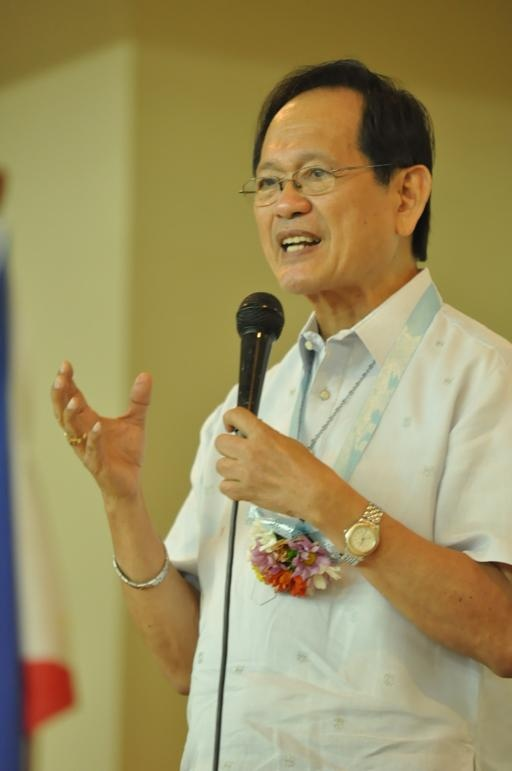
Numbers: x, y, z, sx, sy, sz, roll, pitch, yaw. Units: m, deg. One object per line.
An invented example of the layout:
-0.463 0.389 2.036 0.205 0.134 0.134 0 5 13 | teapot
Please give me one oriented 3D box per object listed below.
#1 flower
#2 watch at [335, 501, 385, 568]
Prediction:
0.058 0.259 1.295 0.154 0.075 0.126 -2 32 -8 | flower
0.123 0.206 1.214 0.042 0.086 0.084 42 -15 6 | watch
